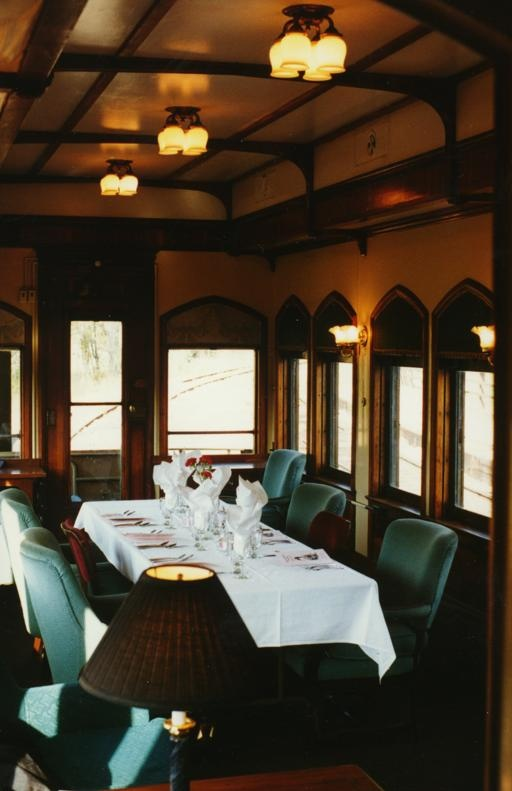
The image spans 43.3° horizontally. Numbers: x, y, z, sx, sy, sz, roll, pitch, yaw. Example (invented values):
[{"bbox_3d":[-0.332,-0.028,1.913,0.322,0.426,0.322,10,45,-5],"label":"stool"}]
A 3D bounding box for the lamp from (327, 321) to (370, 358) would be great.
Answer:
[{"bbox_3d":[0.977,-0.551,6.692,0.289,0.281,0.330,8,-6,-36],"label":"lamp"}]

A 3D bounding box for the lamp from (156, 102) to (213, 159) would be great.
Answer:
[{"bbox_3d":[-0.592,-2.072,5.178,0.411,0.389,0.442,1,9,9],"label":"lamp"}]

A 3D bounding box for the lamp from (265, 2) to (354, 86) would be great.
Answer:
[{"bbox_3d":[0.284,-1.828,3.356,0.407,0.330,0.428,1,6,22],"label":"lamp"}]

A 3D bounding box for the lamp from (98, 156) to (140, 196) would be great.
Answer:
[{"bbox_3d":[-1.477,-2.369,7.110,0.443,0.379,0.452,-8,14,-38],"label":"lamp"}]
